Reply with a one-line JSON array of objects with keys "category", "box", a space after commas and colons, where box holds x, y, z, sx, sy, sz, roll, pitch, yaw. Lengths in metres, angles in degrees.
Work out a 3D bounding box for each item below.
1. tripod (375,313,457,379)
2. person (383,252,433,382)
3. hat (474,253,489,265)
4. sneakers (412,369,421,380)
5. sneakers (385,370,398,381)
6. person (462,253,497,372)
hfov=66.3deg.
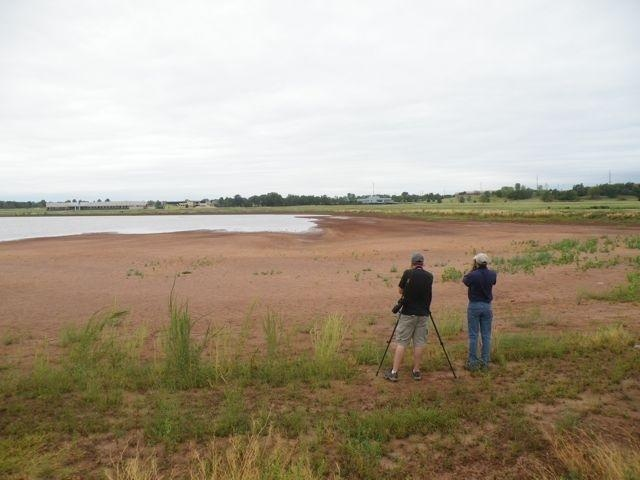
[{"category": "tripod", "box": [2.193, 2.455, 11.102, 1.234, 1.517, 0.156, 0, -6, 2]}, {"category": "person", "box": [1.894, 1.614, 10.283, 0.961, 2.566, 0.602, -3, 4, 0]}, {"category": "hat", "box": [3.550, 0.412, 10.755, 0.236, 0.184, 0.329, 6, 16, 35]}, {"category": "sneakers", "box": [2.019, 2.808, 10.229, 0.183, 0.211, 0.188, -3, 4, -2]}, {"category": "sneakers", "box": [1.488, 2.819, 10.179, 0.291, 0.211, 0.214, -3, 4, 5]}, {"category": "person", "box": [3.435, 1.531, 10.563, 0.567, 2.446, 0.784, 1, 6, 44]}]
